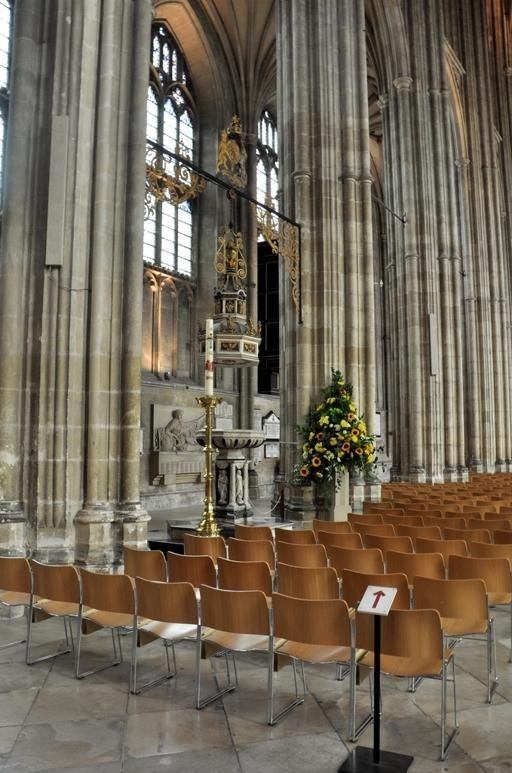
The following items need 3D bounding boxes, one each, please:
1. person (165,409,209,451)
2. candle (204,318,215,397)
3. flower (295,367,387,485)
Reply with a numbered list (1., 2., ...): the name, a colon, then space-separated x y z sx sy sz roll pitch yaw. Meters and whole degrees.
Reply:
1. person: -1.684 0.970 18.589 0.301 0.933 1.422 0 2 20
2. candle: -0.460 -0.276 8.004 0.069 0.742 0.343 -1 2 -6
3. flower: 1.113 0.649 12.168 1.203 1.708 1.121 0 2 29
